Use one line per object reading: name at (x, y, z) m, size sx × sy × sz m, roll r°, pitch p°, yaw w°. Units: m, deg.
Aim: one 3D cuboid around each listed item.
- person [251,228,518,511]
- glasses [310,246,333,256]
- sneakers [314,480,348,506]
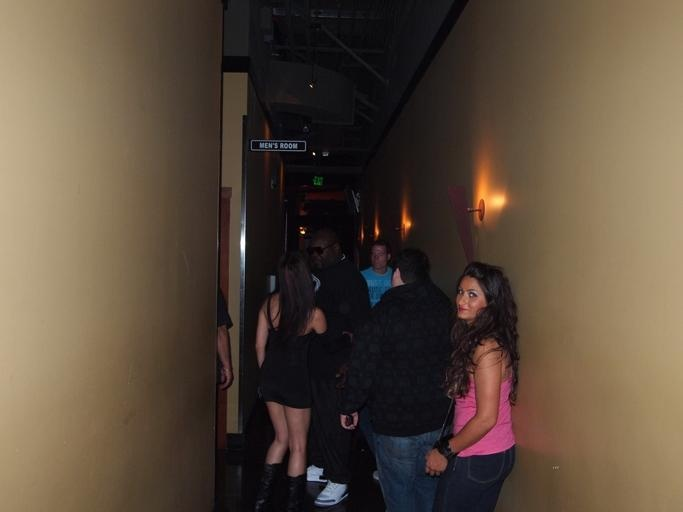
person at (0.236, 0.693, 3.036) m, size 0.580 × 1.431 × 1.568 m, roll -1°, pitch -4°, yaw -31°
glasses at (-0.162, -0.039, 3.988) m, size 0.077 × 0.029 × 0.086 m, roll -7°, pitch -13°, yaw 34°
sneakers at (-0.061, 1.630, 3.868) m, size 0.095 × 0.141 × 0.274 m, roll -5°, pitch -14°, yaw 39°
